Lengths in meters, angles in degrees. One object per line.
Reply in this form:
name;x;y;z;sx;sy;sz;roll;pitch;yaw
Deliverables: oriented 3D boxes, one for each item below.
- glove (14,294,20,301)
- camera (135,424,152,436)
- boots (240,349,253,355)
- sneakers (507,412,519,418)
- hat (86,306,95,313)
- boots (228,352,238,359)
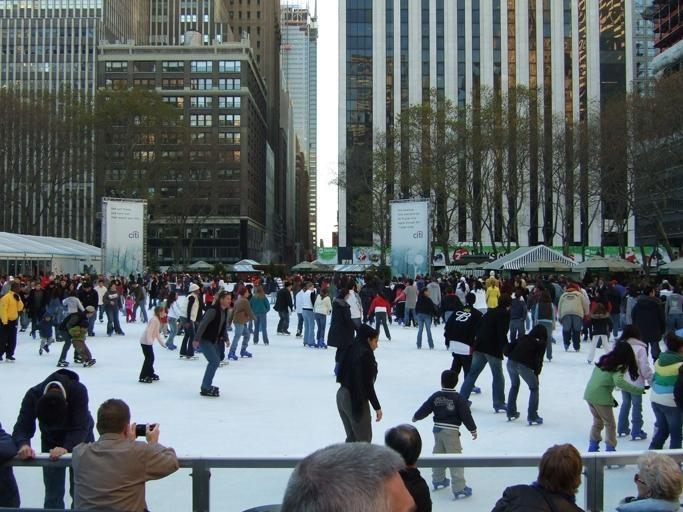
glove;-12.968;1.643;37.122;0.153;0.367;0.247;-2;0;13
camera;-5.602;4.975;26.386;0.369;0.184;0.309;-5;4;15
boots;-3.946;4.050;38.792;0.495;0.396;0.192;-2;5;3
sneakers;5.891;5.460;31.759;0.493;0.222;0.139;1;-2;-35
hat;-10.141;2.144;37.481;0.250;0.291;0.188;-32;32;-31
boots;-4.458;4.103;38.174;0.374;0.479;0.209;0;0;2
